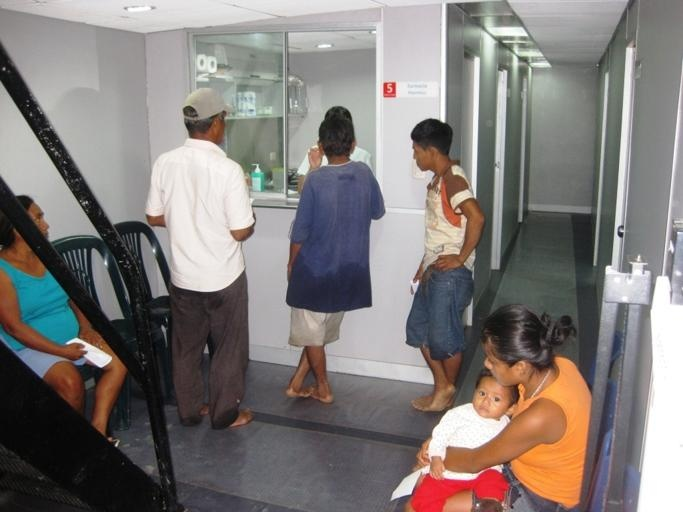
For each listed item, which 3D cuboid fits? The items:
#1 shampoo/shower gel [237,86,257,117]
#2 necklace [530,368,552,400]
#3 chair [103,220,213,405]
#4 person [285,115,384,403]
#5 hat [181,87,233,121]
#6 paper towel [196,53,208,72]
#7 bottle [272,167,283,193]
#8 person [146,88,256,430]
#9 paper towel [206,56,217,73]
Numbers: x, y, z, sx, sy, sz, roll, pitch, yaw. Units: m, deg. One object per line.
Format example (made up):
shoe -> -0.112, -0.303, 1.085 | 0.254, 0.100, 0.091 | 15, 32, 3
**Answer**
shampoo/shower gel -> -0.834, -1.334, 4.523 | 0.180, 0.356, 0.190 | 1, 12, -3
necklace -> 0.782, 0.503, 1.983 | 0.042, 0.153, 0.007 | 25, 15, 25
chair -> -1.388, 0.408, 4.199 | 0.812, 1.291, 0.739 | 0, 12, -37
person -> -0.062, 0.074, 3.769 | 0.717, 2.124, 0.285 | -1, 13, -8
hat -> -0.873, -0.958, 3.282 | 0.184, 0.153, 0.262 | 23, 39, 33
paper towel -> -1.233, -1.689, 4.472 | 0.135, 0.217, 0.022 | 1, 7, -8
bottle -> -0.573, -0.675, 4.626 | 0.076, 0.210, 0.189 | -6, 15, -25
person -> -0.919, 0.225, 3.441 | 0.681, 1.955, 0.315 | -1, 13, -8
paper towel -> -1.144, -1.672, 4.477 | 0.105, 0.178, 0.055 | -1, 16, -14
